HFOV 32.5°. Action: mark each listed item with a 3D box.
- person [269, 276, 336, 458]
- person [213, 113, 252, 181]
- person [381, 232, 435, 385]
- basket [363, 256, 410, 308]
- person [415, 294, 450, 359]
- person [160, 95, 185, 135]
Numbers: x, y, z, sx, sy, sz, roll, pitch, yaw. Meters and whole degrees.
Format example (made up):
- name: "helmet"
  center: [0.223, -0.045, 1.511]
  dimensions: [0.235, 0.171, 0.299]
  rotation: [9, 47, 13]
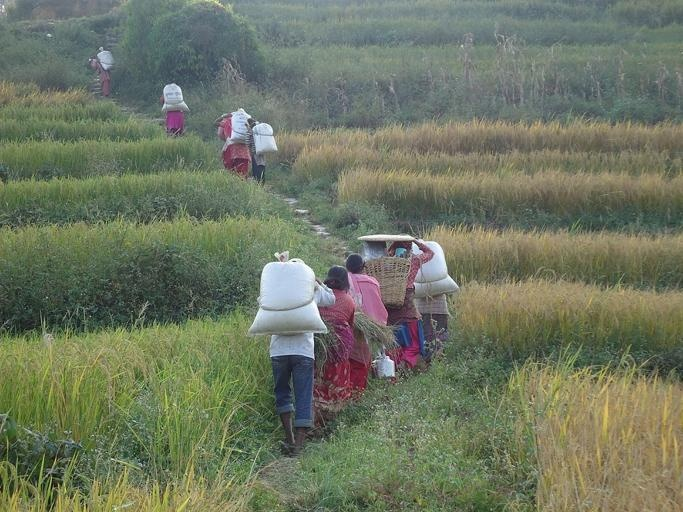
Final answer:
- name: "person"
  center: [-0.921, 2.695, 23.019]
  dimensions: [0.846, 2.316, 0.488]
  rotation: [-4, 7, -6]
- name: "person"
  center: [-2.737, -2.881, 30.750]
  dimensions: [0.776, 2.008, 0.778]
  rotation: [1, 17, -18]
- name: "person"
  center: [1.312, 1.145, 24.549]
  dimensions: [1.355, 3.005, 0.928]
  rotation: [-7, 24, 0]
- name: "basket"
  center: [1.005, 0.536, 23.887]
  dimensions: [0.709, 0.871, 0.873]
  rotation: [1, 0, -2]
- name: "person"
  center: [1.936, 1.461, 25.127]
  dimensions: [0.781, 2.211, 0.638]
  rotation: [0, 33, 0]
- name: "person"
  center: [-4.769, -3.989, 33.305]
  dimensions: [0.595, 1.133, 1.129]
  rotation: [-4, 8, -10]
